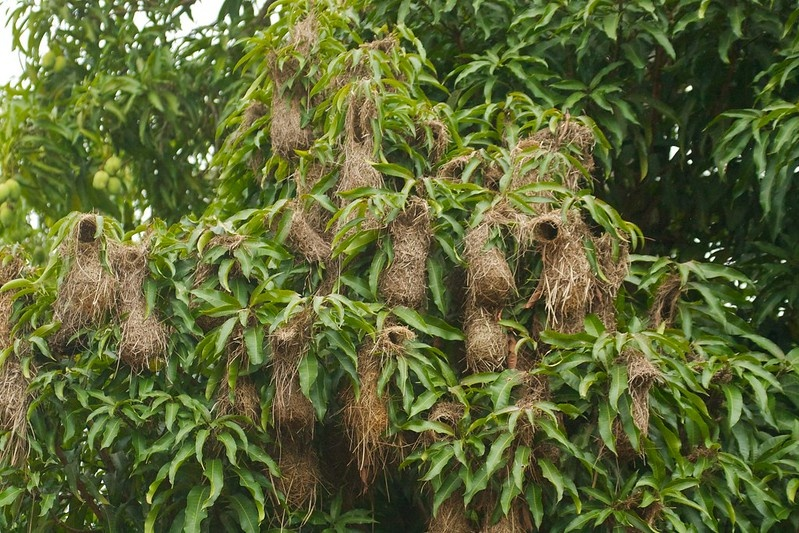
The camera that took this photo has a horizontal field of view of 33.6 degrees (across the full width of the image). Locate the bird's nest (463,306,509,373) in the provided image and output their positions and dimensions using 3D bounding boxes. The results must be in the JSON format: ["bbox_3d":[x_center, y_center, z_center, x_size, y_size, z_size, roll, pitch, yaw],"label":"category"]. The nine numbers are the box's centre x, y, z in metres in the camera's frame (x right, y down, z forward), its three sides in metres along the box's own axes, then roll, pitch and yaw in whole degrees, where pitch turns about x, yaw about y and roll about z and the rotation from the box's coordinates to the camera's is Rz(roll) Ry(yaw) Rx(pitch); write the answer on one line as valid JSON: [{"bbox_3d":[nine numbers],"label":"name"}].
[{"bbox_3d":[0.431,0.385,6.364,0.181,0.328,0.149,-9,-20,3],"label":"bird's nest"}]

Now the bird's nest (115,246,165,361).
[{"bbox_3d":[-1.271,0.189,6.432,0.264,0.504,0.181,-14,-3,-36],"label":"bird's nest"}]

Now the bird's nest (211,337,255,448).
[{"bbox_3d":[-0.792,0.548,6.420,0.214,0.446,0.193,-5,-12,-8],"label":"bird's nest"}]

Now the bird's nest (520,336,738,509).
[{"bbox_3d":[1.116,0.628,6.257,0.798,0.853,0.595,-5,-29,-1],"label":"bird's nest"}]

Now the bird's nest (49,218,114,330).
[{"bbox_3d":[-1.544,0.039,6.457,0.323,0.517,0.176,3,-3,-37],"label":"bird's nest"}]

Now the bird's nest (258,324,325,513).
[{"bbox_3d":[-0.496,0.734,6.554,0.268,1.018,0.283,-2,-5,42],"label":"bird's nest"}]

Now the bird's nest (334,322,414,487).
[{"bbox_3d":[-0.118,0.687,6.454,0.309,0.724,0.542,-2,-13,-21],"label":"bird's nest"}]
